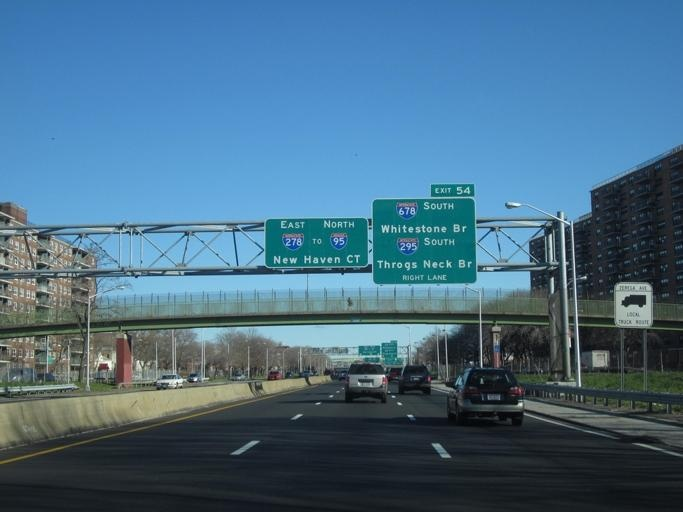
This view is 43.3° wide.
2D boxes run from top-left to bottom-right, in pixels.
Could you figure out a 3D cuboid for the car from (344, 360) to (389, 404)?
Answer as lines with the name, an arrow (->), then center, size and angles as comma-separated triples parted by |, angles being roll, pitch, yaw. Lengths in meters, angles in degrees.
car -> 1.152, 5.833, 39.671 | 1.882, 1.871, 0.850 | -5, -9, 21
